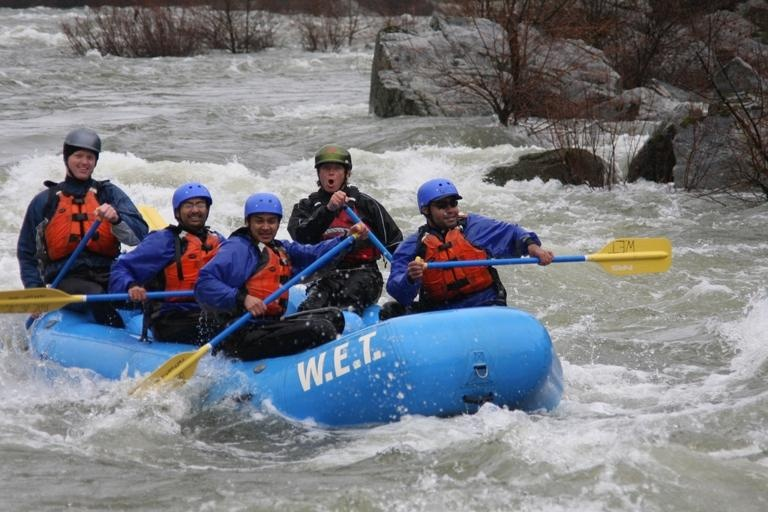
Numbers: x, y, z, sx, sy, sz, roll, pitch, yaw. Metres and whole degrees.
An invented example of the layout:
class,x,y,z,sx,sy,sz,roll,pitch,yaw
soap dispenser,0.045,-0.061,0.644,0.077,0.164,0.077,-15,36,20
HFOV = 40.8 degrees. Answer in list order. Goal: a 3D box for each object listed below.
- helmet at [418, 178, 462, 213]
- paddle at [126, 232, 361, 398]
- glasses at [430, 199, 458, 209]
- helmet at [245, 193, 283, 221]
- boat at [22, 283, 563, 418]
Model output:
class,x,y,z,sx,sy,sz,roll,pitch,yaw
helmet,0.578,-0.698,12.239,0.384,0.233,0.498,-3,-16,-46
paddle,-1.719,0.724,11.936,3.273,0.347,0.126,-33,-14,0
glasses,0.714,-0.614,12.097,0.148,0.053,0.197,-5,-4,-30
helmet,-1.442,-0.610,12.040,0.315,0.285,0.384,5,-37,-10
boat,-1.162,1.038,12.270,6.412,1.147,1.945,2,17,18
